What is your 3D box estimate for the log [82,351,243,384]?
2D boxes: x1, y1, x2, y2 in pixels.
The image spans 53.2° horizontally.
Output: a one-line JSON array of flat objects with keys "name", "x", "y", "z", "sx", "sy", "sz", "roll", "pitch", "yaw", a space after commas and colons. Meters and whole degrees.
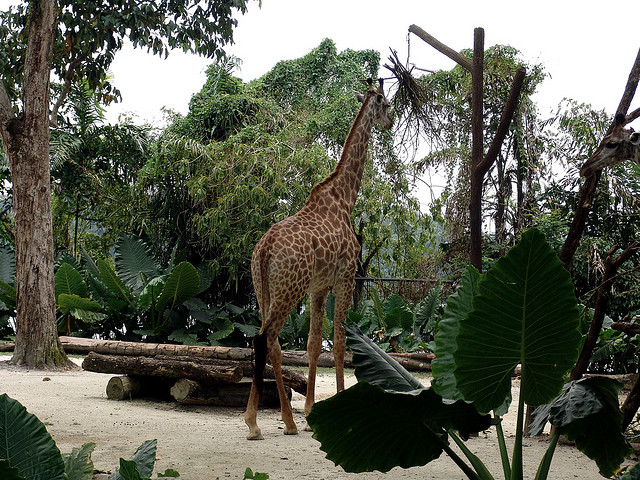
[{"name": "log", "x": -1.914, "y": 1.607, "z": 8.025, "sx": 1.781, "sy": 0.305, "sz": 0.456, "roll": 4, "pitch": -12, "yaw": 14}]

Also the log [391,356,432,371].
[{"name": "log", "x": 1.502, "y": 2.034, "z": 10.435, "sx": 0.594, "sy": 0.244, "sz": 0.573, "roll": 2, "pitch": -3, "yaw": 14}]

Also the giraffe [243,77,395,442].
[{"name": "giraffe", "x": -0.031, "y": 0.026, "z": 6.606, "sx": 0.644, "sy": 3.838, "sz": 1.724, "roll": 1, "pitch": -3, "yaw": 41}]
